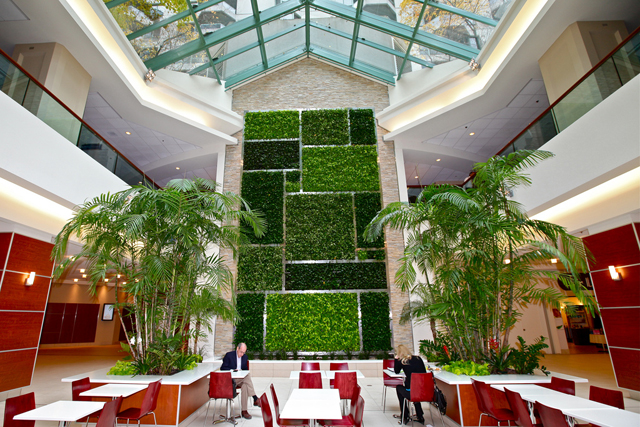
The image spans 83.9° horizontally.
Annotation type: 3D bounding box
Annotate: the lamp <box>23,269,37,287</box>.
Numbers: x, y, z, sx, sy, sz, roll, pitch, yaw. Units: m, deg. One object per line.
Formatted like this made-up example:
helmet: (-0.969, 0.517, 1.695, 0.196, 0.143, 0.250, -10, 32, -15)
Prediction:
lamp: (-7.468, 1.681, 9.199, 0.078, 0.398, 0.278, -9, -17, 16)

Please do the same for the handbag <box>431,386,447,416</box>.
handbag: (2.583, 4.053, 7.741, 0.222, 0.581, 0.429, -4, -3, 0)

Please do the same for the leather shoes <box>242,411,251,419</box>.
leather shoes: (-1.646, 4.481, 7.946, 0.233, 0.147, 0.109, 1, -7, 8)

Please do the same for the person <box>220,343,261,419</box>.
person: (-1.916, 3.919, 8.461, 0.859, 1.574, 1.109, -1, -17, -11)

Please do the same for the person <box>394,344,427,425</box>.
person: (1.965, 3.692, 7.724, 0.592, 1.617, 1.060, -3, -17, -5)

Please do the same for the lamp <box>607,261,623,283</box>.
lamp: (7.276, 1.438, 8.804, 0.254, 0.471, 0.423, 7, -21, 0)

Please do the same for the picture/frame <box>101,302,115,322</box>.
picture/frame: (-11.885, 5.532, 20.055, 0.460, 0.927, 0.686, -18, -21, 38)
